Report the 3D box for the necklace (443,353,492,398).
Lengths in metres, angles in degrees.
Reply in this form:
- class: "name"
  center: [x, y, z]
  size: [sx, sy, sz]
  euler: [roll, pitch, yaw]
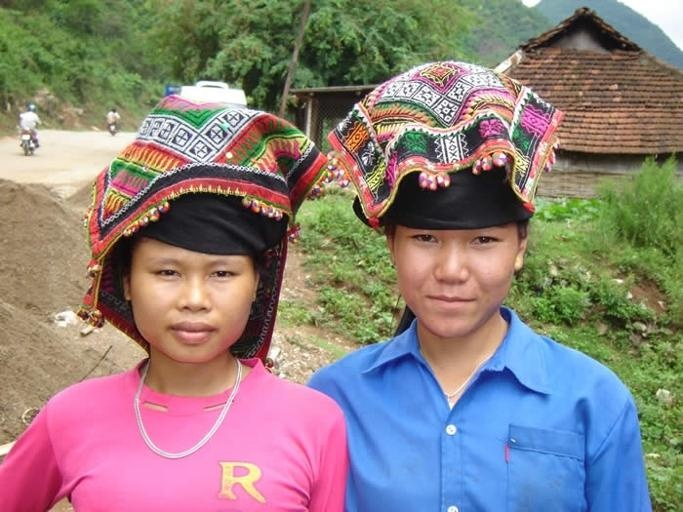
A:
- class: "necklace"
  center: [0.563, 0.544, 3.163]
  size: [0.046, 0.263, 0.036]
  euler: [56, 4, 31]
